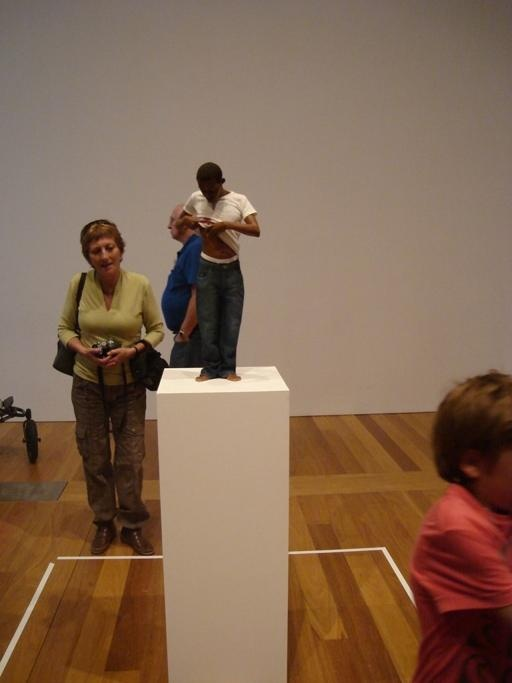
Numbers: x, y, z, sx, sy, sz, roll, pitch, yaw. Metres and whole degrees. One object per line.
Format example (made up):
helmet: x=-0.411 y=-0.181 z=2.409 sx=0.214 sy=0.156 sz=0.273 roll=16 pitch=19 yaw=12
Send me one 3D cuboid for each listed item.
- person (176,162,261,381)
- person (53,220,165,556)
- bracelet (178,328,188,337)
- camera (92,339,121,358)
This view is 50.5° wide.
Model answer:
person: x=-0.131 y=-0.247 z=1.924 sx=0.260 sy=0.751 sz=0.257 roll=-2 pitch=10 yaw=-7
person: x=-0.682 y=0.256 z=2.598 sx=0.499 sy=1.639 sz=0.315 roll=-3 pitch=11 yaw=-15
bracelet: x=-0.400 y=-0.055 z=2.949 sx=0.044 sy=0.040 sz=0.016 roll=4 pitch=2 yaw=34
camera: x=-0.674 y=0.029 z=2.456 sx=0.116 sy=0.068 sz=0.099 roll=-3 pitch=10 yaw=-13
